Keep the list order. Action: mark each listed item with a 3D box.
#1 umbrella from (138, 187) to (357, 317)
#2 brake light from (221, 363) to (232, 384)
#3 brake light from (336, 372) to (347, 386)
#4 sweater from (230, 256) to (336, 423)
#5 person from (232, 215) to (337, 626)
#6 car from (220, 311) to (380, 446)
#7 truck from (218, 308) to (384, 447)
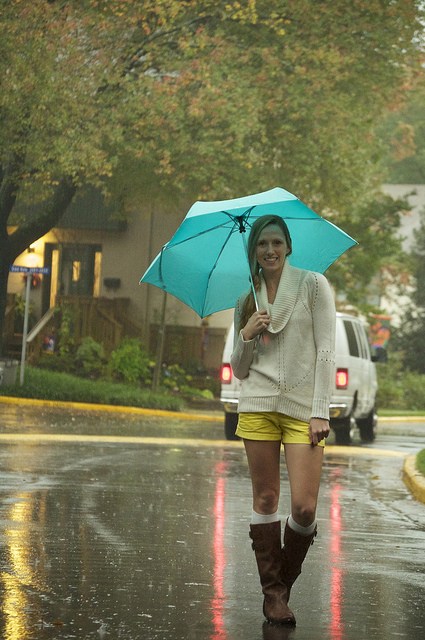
[{"bbox_3d":[0.176,-0.426,4.674,1.162,0.373,1.283,-3,11,45],"label":"umbrella"},{"bbox_3d":[0.225,0.891,14.098,0.184,0.345,0.266,5,-5,-1],"label":"brake light"},{"bbox_3d":[2.117,0.988,14.109,0.226,0.206,0.056,0,-8,-2],"label":"brake light"},{"bbox_3d":[0.286,0.084,3.583,0.358,0.657,0.392,-2,7,15],"label":"sweater"},{"bbox_3d":[0.261,0.383,3.566,0.338,1.681,0.546,8,-5,-28],"label":"person"},{"bbox_3d":[1.887,1.200,15.764,1.921,1.631,3.439,0,-1,18],"label":"car"},{"bbox_3d":[1.798,1.094,15.613,1.929,1.718,3.716,-1,1,19],"label":"truck"}]
